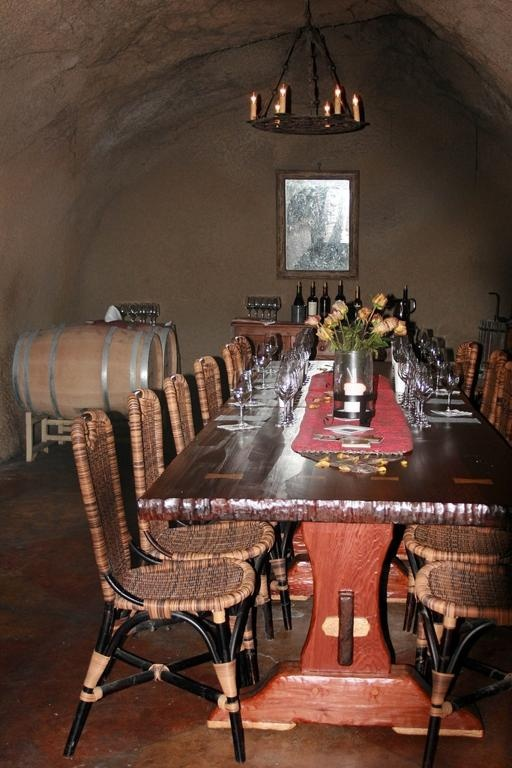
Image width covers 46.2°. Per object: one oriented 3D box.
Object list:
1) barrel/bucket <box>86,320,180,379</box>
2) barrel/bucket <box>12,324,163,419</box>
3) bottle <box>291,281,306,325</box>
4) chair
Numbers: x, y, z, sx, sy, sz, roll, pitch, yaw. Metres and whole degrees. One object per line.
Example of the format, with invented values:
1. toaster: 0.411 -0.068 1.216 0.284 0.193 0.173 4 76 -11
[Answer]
1. barrel/bucket: -0.908 -0.242 4.297 0.486 0.360 0.368 6 -4 4
2. barrel/bucket: -1.139 -0.090 3.988 0.597 0.478 0.448 3 -20 6
3. bottle: 0.402 -0.791 5.799 0.139 0.431 0.431 -1 3 4
4. chair: 0.121 0.447 1.628 1.079 0.861 0.808 -1 3 9
